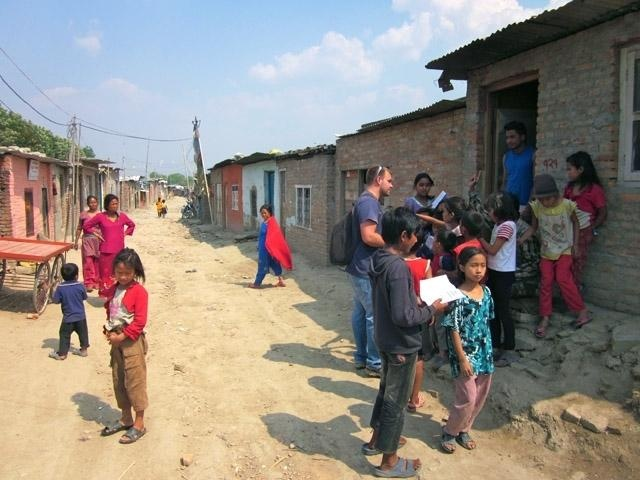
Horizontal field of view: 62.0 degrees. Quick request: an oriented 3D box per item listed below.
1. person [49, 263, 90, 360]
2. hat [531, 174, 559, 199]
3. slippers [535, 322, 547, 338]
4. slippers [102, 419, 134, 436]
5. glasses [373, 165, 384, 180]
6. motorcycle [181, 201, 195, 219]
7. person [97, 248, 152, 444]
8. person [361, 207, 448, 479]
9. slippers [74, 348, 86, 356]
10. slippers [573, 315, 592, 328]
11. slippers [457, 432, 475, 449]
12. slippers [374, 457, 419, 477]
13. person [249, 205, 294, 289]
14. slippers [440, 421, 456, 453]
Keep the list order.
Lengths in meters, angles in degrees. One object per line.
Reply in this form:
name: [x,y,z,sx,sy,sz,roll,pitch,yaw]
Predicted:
person: [-3.550,0.995,7.478,0.493,1.289,0.445,-3,8,-22]
hat: [2.750,-0.654,6.528,0.241,0.175,0.299,-10,12,-3]
slippers: [2.744,1.143,6.635,0.078,0.080,0.217,-8,7,29]
slippers: [-2.172,2.015,5.778,0.343,0.140,0.142,4,0,-32]
glasses: [0.704,-0.830,6.461,0.103,0.123,0.094,8,11,13]
motorcycle: [-9.055,-2.027,36.577,1.021,0.991,1.563,4,-1,-11]
person: [-2.062,1.107,5.698,0.402,2.009,0.509,-5,9,-32]
person: [0.774,0.988,5.115,0.699,2.571,0.448,1,7,5]
slippers: [-3.425,1.595,7.600,0.234,0.102,0.095,11,5,42]
slippers: [3.181,0.998,6.488,0.102,0.073,0.268,-35,-7,31]
slippers: [1.512,2.085,5.537,0.109,0.092,0.216,-8,-6,-13]
slippers: [0.760,2.203,5.114,0.334,0.124,0.187,-1,-3,-3]
person: [-1.075,0.142,11.532,0.837,1.806,0.456,-4,8,-29]
slippers: [1.322,2.069,5.517,0.118,0.123,0.337,1,2,3]
